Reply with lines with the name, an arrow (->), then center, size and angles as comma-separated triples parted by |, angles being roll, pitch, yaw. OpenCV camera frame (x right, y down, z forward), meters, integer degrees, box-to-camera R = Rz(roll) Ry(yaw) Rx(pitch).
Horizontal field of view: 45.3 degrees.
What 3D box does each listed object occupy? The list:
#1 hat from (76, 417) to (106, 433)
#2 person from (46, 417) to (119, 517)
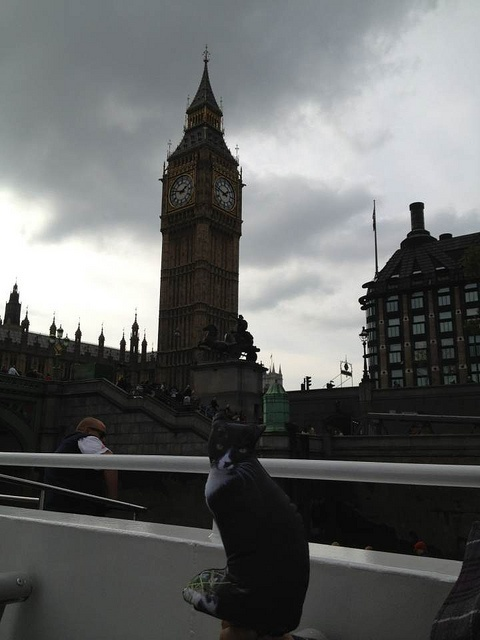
hat -> -0.889, 0.629, 3.431 | 0.153, 0.149, 0.121 | -3, -11, -5
person -> -0.843, 0.765, 3.054 | 0.351, 0.438, 0.799 | 7, -6, -17
